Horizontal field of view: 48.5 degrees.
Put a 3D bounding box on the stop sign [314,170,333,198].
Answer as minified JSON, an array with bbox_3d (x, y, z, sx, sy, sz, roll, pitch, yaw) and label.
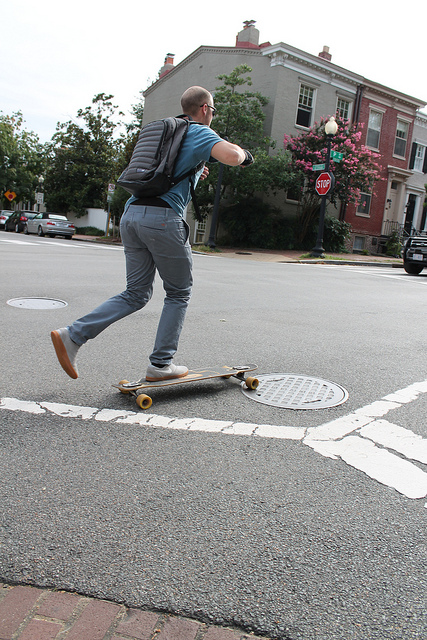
[{"bbox_3d":[5.240,-6.480,22.304,0.767,1.120,0.761,5,7,18],"label":"stop sign"}]

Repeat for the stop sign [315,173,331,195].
[{"bbox_3d":[5.161,-6.435,22.197,0.715,1.018,0.480,6,7,20],"label":"stop sign"}]

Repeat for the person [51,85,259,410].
[{"bbox_3d":[-0.388,-0.569,3.212,1.242,2.189,0.820,3,7,3],"label":"person"}]

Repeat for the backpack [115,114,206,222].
[{"bbox_3d":[-0.337,-1.031,3.183,0.462,0.687,0.497,8,4,-40],"label":"backpack"}]

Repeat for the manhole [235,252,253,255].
[{"bbox_3d":[1.489,-3.246,22.980,0.752,0.128,0.913,3,7,2],"label":"manhole"}]

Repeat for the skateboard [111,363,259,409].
[{"bbox_3d":[-0.156,0.406,3.364,0.964,0.132,0.363,-8,12,-27],"label":"skateboard"}]

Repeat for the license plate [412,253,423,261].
[{"bbox_3d":[7.065,-2.188,16.354,0.350,0.245,0.190,17,22,26],"label":"license plate"}]

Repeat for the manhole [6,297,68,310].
[{"bbox_3d":[-2.400,-0.235,6.445,0.736,0.085,0.845,0,7,-26],"label":"manhole"}]

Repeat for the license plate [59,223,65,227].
[{"bbox_3d":[-9.552,-5.993,29.906,0.039,0.188,0.339,10,9,44],"label":"license plate"}]
